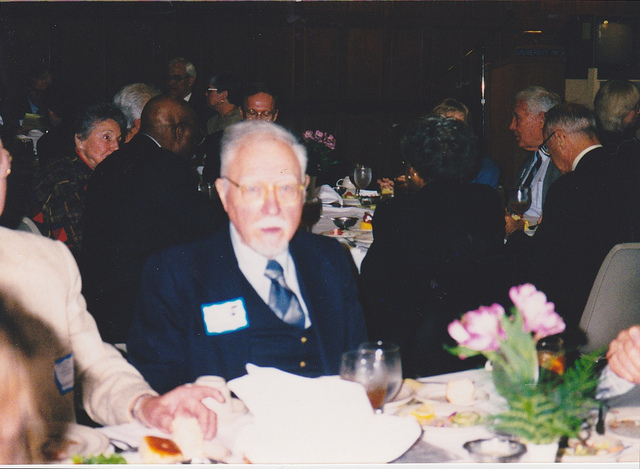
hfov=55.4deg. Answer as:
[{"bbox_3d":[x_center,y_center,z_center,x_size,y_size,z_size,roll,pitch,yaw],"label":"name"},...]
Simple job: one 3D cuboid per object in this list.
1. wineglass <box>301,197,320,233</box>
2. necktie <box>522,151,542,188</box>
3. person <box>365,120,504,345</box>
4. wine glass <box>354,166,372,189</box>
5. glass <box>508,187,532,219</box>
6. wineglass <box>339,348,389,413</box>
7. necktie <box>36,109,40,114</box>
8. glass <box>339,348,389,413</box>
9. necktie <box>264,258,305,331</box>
[{"bbox_3d":[-0.051,-0.096,2.759,0.044,0.136,0.104,11,11,29],"label":"wineglass"},{"bbox_3d":[1.406,-0.432,4.015,0.084,0.201,0.180,25,19,28],"label":"necktie"},{"bbox_3d":[0.437,-0.003,2.404,0.532,0.886,0.134,0,10,16],"label":"person"},{"bbox_3d":[0.255,-0.380,4.173,0.136,0.187,0.130,0,7,-2],"label":"wine glass"},{"bbox_3d":[1.060,-0.171,3.241,0.115,0.161,0.119,-1,10,13],"label":"glass"},{"bbox_3d":[0.132,0.396,1.696,0.173,0.175,0.163,-1,-5,-4],"label":"wineglass"},{"bbox_3d":[-1.692,-0.738,3.654,0.007,0.028,0.030,15,14,2],"label":"necktie"},{"bbox_3d":[0.132,0.399,1.695,0.167,0.168,0.155,0,-7,-10],"label":"glass"},{"bbox_3d":[-0.148,0.234,2.199,0.100,0.304,0.042,-19,-14,-23],"label":"necktie"}]
